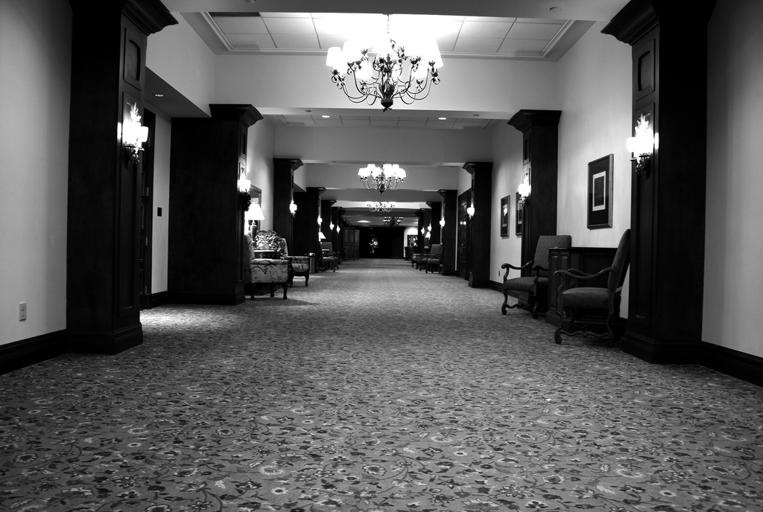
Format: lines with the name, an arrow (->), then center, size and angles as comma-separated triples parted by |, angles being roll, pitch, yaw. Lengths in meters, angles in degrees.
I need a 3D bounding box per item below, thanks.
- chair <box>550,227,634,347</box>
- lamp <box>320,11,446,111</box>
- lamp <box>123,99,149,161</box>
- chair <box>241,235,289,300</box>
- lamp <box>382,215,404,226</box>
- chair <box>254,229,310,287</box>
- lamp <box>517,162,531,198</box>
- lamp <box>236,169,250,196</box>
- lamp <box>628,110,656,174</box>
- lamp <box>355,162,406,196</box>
chair -> 2.811, 0.359, 6.713 | 0.973, 1.447, 0.929 | 0, 0, 25
lamp -> 0.067, -3.170, 8.028 | 1.746, 1.645, 1.599 | -1, 1, 19
lamp -> -2.821, -1.441, 5.848 | 0.222, 0.692, 0.408 | 0, 4, -13
chair -> -2.448, 0.258, 10.762 | 1.296, 1.632, 1.206 | 0, 4, -11
lamp -> 0.741, -2.451, 34.070 | 0.918, 0.973, 0.914 | -1, 0, -4
chair -> -2.761, 0.038, 12.670 | 1.408, 1.771, 1.353 | 1, 0, 12
lamp -> 2.771, -1.461, 9.732 | 0.172, 0.720, 0.485 | 1, 4, 7
lamp -> -2.621, -1.410, 9.653 | 0.186, 0.463, 0.522 | 0, 4, -12
lamp -> 2.928, -1.298, 5.754 | 0.231, 0.671, 0.393 | 1, 4, 6
lamp -> 0.062, -2.698, 16.949 | 1.330, 0.857, 1.326 | 2, 5, 2
